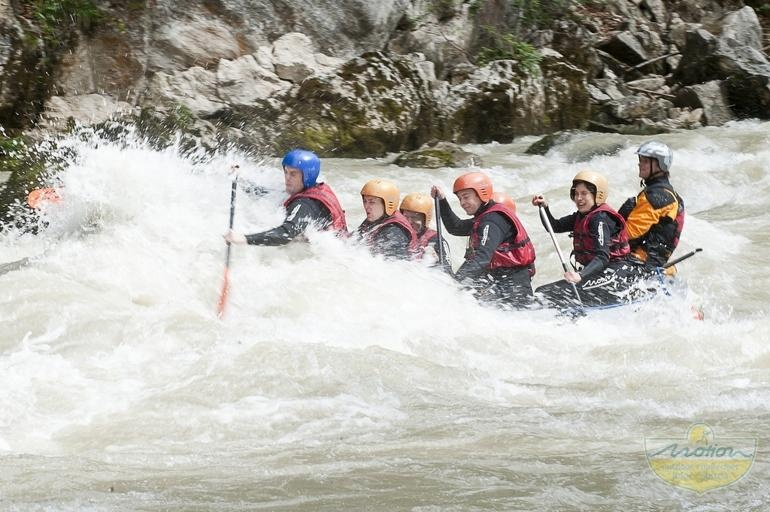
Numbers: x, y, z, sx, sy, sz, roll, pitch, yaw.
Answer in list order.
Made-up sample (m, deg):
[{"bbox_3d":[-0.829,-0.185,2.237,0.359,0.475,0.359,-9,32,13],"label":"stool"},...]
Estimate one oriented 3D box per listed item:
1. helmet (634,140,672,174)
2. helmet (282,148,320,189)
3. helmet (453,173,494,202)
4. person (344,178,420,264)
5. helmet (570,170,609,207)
[{"bbox_3d":[3.930,-1.406,15.906,0.587,0.370,0.382,-5,16,-8],"label":"helmet"},{"bbox_3d":[-1.135,-1.234,15.658,0.676,0.473,0.469,1,4,-26],"label":"helmet"},{"bbox_3d":[1.270,-0.972,15.696,0.552,0.357,0.382,-26,14,-2],"label":"helmet"},{"bbox_3d":[0.041,-0.436,15.816,0.974,1.113,1.343,-1,11,-21],"label":"person"},{"bbox_3d":[3.012,-0.964,15.853,0.613,0.378,0.445,8,7,-17],"label":"helmet"}]
